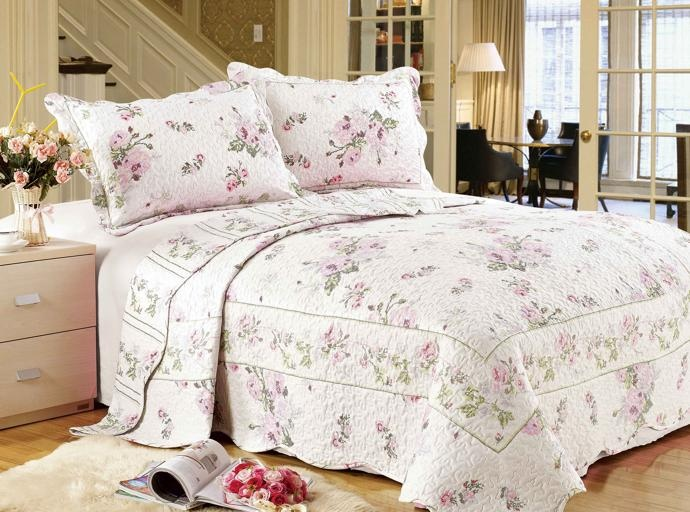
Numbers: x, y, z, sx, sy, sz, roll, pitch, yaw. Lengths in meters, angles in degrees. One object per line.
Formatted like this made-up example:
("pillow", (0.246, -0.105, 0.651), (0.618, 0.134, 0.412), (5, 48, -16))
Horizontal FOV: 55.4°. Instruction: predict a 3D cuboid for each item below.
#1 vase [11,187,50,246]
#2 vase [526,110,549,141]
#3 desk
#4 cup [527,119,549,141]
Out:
("vase", (-1.238, -0.160, 2.578), (0.170, 0.243, 0.138), (-1, -4, -30))
("vase", (2.197, -1.497, 7.531), (0.313, 0.481, 0.318), (1, 7, 20))
("desk", (2.265, -0.996, 7.872), (0.953, 0.799, 0.979), (-18, 17, -23))
("cup", (2.191, -1.409, 7.432), (0.245, 0.267, 0.223), (0, 3, 0))
